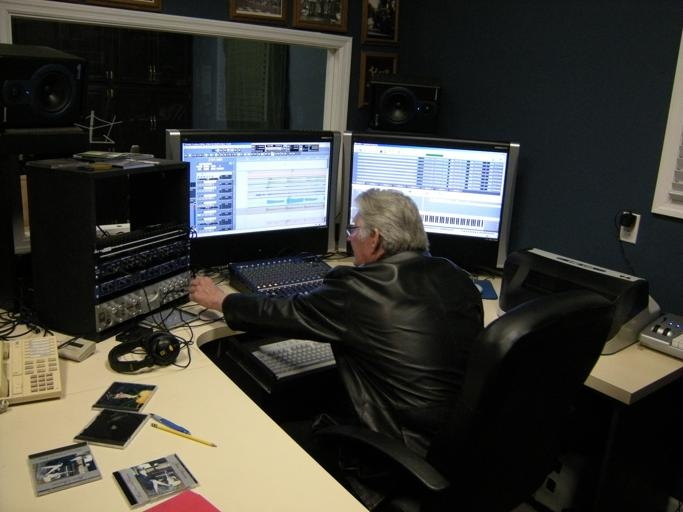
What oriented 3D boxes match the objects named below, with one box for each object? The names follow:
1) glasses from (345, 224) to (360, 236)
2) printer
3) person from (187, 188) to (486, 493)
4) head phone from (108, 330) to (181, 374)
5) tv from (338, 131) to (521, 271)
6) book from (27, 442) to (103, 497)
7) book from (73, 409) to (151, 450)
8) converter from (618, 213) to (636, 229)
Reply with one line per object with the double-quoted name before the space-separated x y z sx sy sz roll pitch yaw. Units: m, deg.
"glasses" 0.043 -0.099 2.103 0.023 0.072 0.066 8 1 -33
"printer" 0.941 0.137 2.242 0.435 0.225 0.534 -16 25 -39
"person" 0.035 0.347 2.061 0.979 1.170 0.829 -11 21 -31
"head phone" -0.649 0.315 1.825 0.153 0.069 0.147 -16 22 -21
"tv" 0.372 -0.234 2.379 0.588 0.510 0.166 4 20 0
"book" -0.707 0.541 1.418 0.153 0.033 0.152 -10 22 -32
"book" -0.633 0.470 1.541 0.149 0.160 0.016 21 27 -30
"converter" 1.255 -0.153 2.436 0.069 0.072 0.035 13 21 30
